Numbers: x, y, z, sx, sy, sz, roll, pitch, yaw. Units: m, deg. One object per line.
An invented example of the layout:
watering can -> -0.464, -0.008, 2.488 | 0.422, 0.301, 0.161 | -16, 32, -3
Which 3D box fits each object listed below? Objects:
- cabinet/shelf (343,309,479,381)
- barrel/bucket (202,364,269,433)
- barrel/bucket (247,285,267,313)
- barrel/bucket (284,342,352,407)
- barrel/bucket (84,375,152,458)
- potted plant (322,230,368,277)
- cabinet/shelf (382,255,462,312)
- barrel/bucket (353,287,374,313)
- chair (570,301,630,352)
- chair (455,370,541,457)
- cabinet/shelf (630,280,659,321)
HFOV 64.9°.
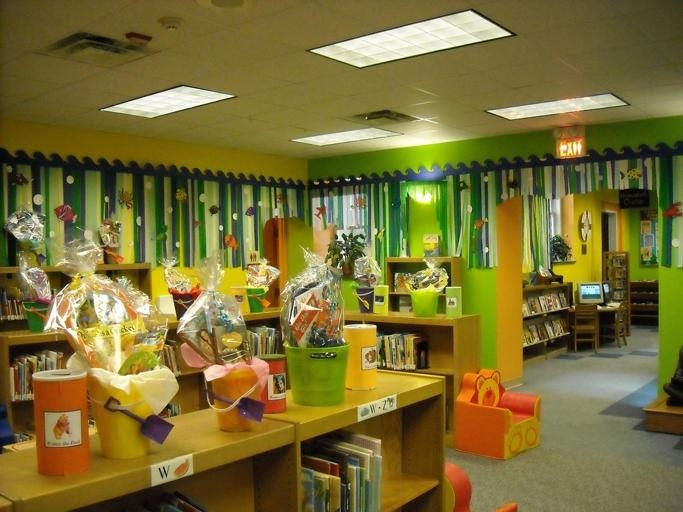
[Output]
cabinet/shelf -> 0.709, 0.815, 4.924 | 1.037, 0.937, 0.361 | -1, -2, 32
barrel/bucket -> -0.416, 0.542, 2.106 | 0.255, 0.266, 0.250 | -2, -11, 0
barrel/bucket -> -0.927, 0.431, 5.557 | 0.224, 0.240, 0.229 | -2, -4, 0
barrel/bucket -> -0.094, 0.509, 2.440 | 0.263, 0.210, 0.258 | -1, -5, 0
barrel/bucket -> -0.744, 0.528, 1.894 | 0.233, 0.271, 0.251 | 0, 1, 0
potted plant -> 0.098, -0.015, 8.958 | 0.597, 0.698, 0.660 | 5, 12, 9
cabinet/shelf -> 1.080, 0.365, 7.002 | 0.774, 0.791, 0.267 | -1, -3, 27
barrel/bucket -> 0.251, 0.463, 5.831 | 0.231, 0.255, 0.248 | 0, 7, 0
chair -> 5.472, 1.459, 11.448 | 0.896, 0.881, 1.697 | -1, -1, 37
chair -> 1.726, 1.704, 5.909 | 0.841, 0.831, 0.638 | 1, -2, -40
cabinet/shelf -> 8.090, 1.187, 14.409 | 0.737, 1.111, 0.627 | 0, 4, 26
